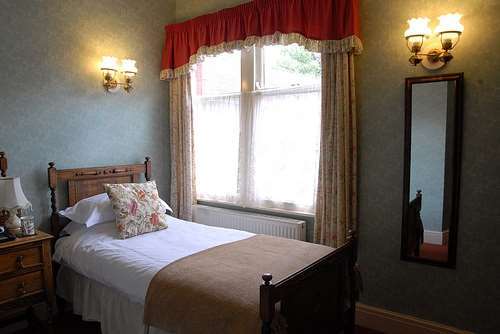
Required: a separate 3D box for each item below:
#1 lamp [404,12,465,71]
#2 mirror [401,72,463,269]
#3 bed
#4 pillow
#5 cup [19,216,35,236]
[{"bbox_3d":[1.863,-1.286,4.022,0.545,0.527,0.358,1,6,27],"label":"lamp"},{"bbox_3d":[1.913,0.047,4.191,0.559,2.029,0.145,1,6,28],"label":"mirror"},{"bbox_3d":[-0.417,0.800,4.931,3.308,2.111,1.730,-6,9,-39],"label":"bed"},{"bbox_3d":[-1.534,0.315,4.664,0.721,0.429,0.852,8,6,35],"label":"pillow"},{"bbox_3d":[-2.353,0.627,4.179,0.130,0.207,0.203,2,1,33],"label":"cup"}]
